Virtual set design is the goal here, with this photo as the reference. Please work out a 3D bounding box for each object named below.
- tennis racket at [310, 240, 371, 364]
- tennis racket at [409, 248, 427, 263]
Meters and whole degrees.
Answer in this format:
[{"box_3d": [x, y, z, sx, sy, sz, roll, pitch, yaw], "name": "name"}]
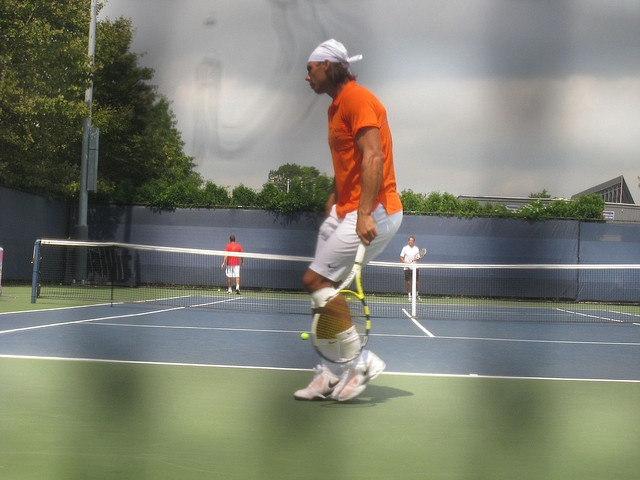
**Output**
[{"box_3d": [0.214, 0.387, 4.825, 0.450, 1.233, 0.090, 5, 24, -9], "name": "tennis racket"}, {"box_3d": [2.436, 0.414, 16.577, 0.394, 0.351, 0.610, 2, 17, 8], "name": "tennis racket"}]
